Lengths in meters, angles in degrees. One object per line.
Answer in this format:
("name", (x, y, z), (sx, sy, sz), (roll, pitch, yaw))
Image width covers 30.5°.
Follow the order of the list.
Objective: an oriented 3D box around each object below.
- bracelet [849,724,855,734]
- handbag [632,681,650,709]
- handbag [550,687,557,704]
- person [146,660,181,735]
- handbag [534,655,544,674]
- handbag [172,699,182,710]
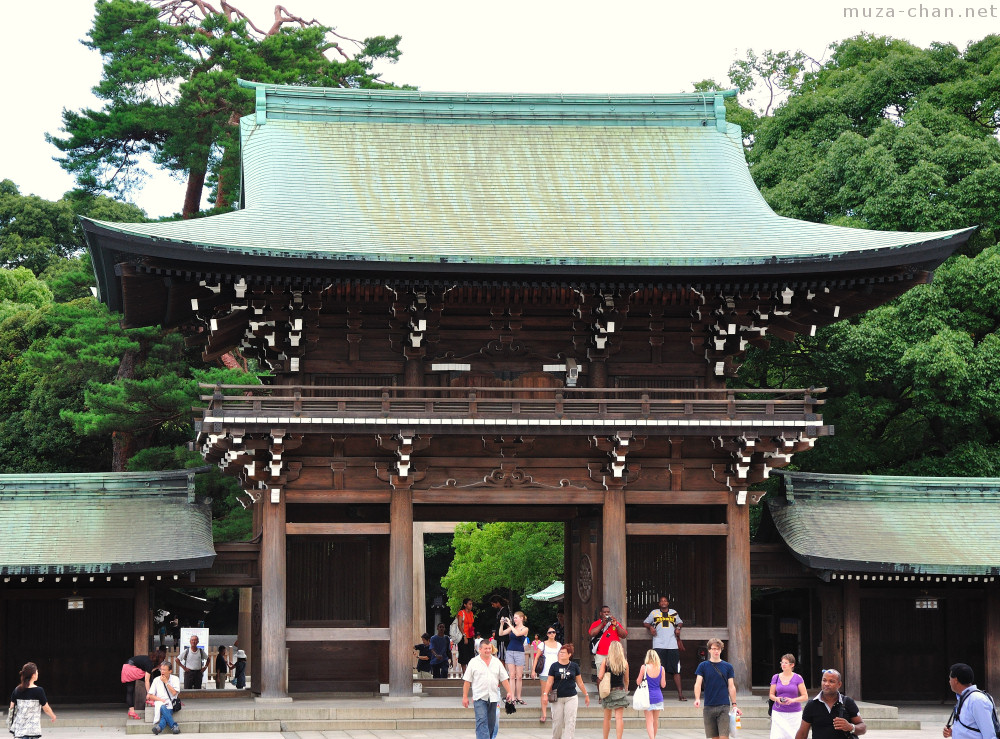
("bracelet", (7.134, 7.273, 37.113), (0.101, 0.140, 0.089), (-3, -9, 3))
("handbag", (3.263, 7.518, 42.433), (0.393, 0.627, 0.389), (-1, -10, -8))
("handbag", (1.289, 7.614, 42.637), (0.113, 0.276, 0.216), (8, -8, -35))
("person", (-8.236, 8.062, 45.218), (0.766, 1.770, 1.565), (0, -9, -11))
("handbag", (0.975, 7.367, 45.768), (0.132, 0.450, 0.349), (8, 0, -39))
("handbag", (-7.944, 8.279, 45.413), (0.281, 0.234, 0.241), (1, -15, -6))
